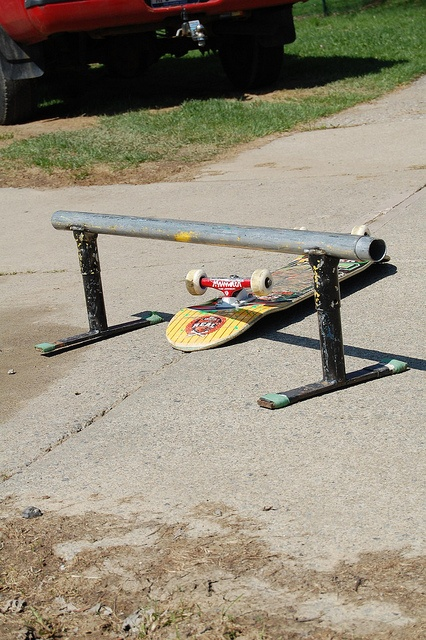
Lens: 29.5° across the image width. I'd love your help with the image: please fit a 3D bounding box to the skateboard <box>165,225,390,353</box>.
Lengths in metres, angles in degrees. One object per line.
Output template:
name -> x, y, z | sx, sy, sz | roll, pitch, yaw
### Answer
skateboard -> 0.493, -0.222, 4.286 | 0.447, 0.230, 1.862 | 23, 37, 37
